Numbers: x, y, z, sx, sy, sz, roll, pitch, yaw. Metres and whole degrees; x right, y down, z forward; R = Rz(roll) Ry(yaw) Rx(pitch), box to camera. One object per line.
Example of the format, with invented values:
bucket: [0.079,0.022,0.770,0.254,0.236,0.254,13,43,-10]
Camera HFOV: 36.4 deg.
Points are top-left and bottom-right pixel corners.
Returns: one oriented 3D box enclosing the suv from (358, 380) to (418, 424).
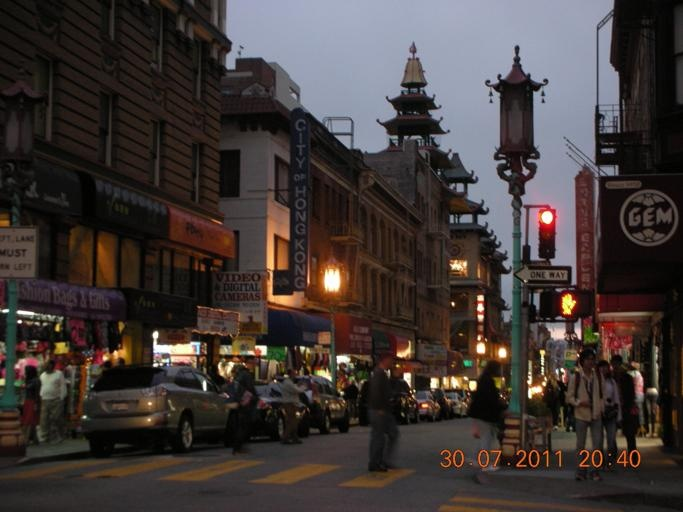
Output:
suv: [2.084,6.486,44.911,2.043,2.075,4.960,-1,-2,11]

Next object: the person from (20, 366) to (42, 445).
person: [-7.967,3.836,26.703,0.439,1.940,0.926,4,-11,-17]

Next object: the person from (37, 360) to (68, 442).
person: [-7.662,3.883,27.638,0.424,2.129,0.969,-7,-13,36]

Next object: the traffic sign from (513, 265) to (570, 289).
traffic sign: [4.365,0.427,22.674,1.153,0.528,0.448,-2,-12,10]

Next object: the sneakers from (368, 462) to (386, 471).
sneakers: [0.767,4.353,21.545,0.491,0.226,0.156,1,0,-20]

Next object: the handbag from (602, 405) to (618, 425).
handbag: [5.512,3.281,21.441,0.328,0.487,0.149,6,-1,-34]

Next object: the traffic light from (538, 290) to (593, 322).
traffic light: [4.728,1.030,22.055,1.155,0.704,0.525,-2,-12,10]

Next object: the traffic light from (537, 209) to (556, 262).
traffic light: [4.330,-0.386,22.010,0.344,1.385,1.692,-1,-12,10]
